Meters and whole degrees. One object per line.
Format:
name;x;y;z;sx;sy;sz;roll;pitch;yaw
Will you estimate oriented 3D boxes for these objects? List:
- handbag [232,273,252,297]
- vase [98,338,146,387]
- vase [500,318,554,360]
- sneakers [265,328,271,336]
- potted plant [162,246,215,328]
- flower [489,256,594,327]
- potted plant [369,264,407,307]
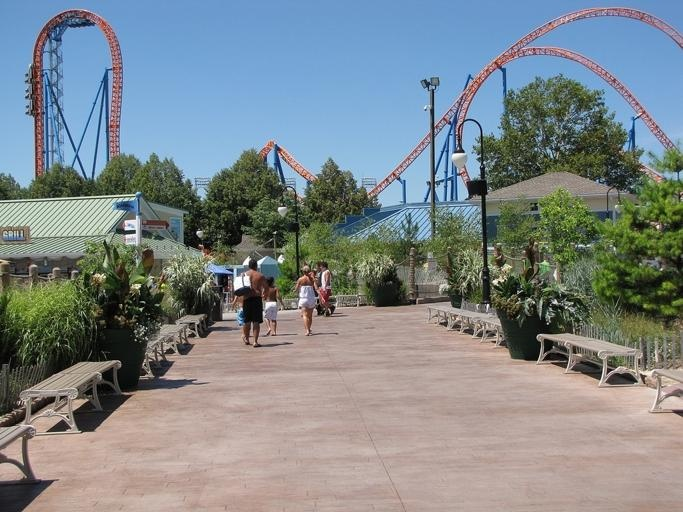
handbag;-2.433;0.718;17.362;0.417;0.567;0.937;-1;0;-8
vase;-3.759;1.728;11.780;0.689;0.888;0.729;0;-2;-36
vase;3.644;1.629;13.864;0.762;0.756;0.840;0;-6;3
sneakers;-2.143;2.233;20.559;0.070;0.167;0.149;7;20;-15
potted plant;-5.238;1.109;23.934;1.941;3.042;2.462;-3;-9;8
flower;3.754;0.839;13.984;1.725;1.271;1.802;-5;-4;15
potted plant;2.194;1.553;31.871;1.468;2.575;1.661;-2;2;4
